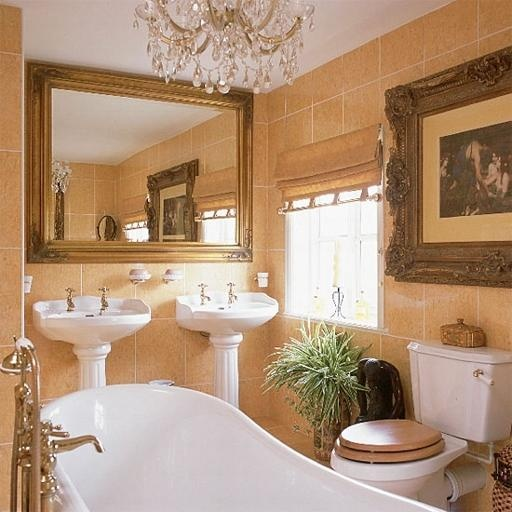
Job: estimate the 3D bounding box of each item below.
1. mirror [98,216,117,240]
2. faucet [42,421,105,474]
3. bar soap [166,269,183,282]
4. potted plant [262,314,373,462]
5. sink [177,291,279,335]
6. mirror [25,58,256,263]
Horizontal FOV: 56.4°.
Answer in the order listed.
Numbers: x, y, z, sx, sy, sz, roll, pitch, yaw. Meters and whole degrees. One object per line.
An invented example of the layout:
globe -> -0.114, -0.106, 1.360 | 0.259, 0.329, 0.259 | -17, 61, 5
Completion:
mirror -> -1.042, -0.192, 3.312 | 0.170, 0.227, 0.037 | -1, 4, -36
faucet -> -0.448, 0.433, 1.152 | 0.133, 0.102, 0.176 | -1, -1, -25
bar soap -> -0.586, 0.136, 3.410 | 0.095, 0.066, 0.094 | -8, 5, -33
potted plant -> 0.397, 0.791, 2.979 | 0.711, 0.763, 0.770 | 0, 0, 2
sink -> -0.184, 0.413, 3.374 | 0.715, 0.296, 0.658 | -1, -1, -19
mirror -> -0.869, -0.652, 3.295 | 1.437, 1.108, 0.057 | 1, -4, -32
